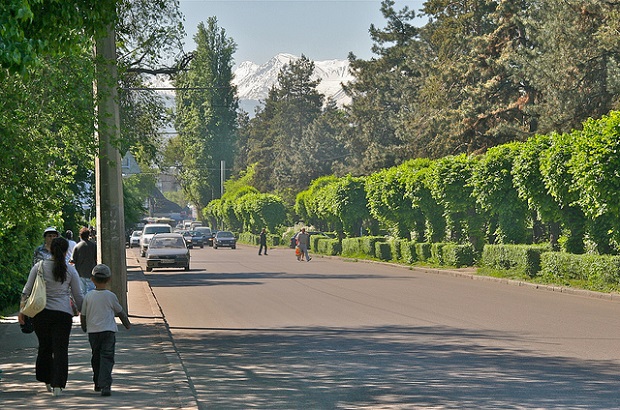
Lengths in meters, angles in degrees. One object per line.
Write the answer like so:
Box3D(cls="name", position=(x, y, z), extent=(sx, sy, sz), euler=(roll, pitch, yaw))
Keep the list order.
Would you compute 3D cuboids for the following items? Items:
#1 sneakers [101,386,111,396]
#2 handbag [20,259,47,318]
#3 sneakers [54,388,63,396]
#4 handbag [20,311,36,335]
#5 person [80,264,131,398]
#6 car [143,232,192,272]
Box3D(cls="sneakers", position=(-4.182, 3.755, 19.935), extent=(0.140, 0.156, 0.374), euler=(2, -10, -8))
Box3D(cls="handbag", position=(-5.693, 1.716, 20.082), extent=(0.570, 1.137, 0.259), euler=(-1, -3, 21))
Box3D(cls="sneakers", position=(-5.150, 3.782, 19.977), extent=(0.132, 0.161, 0.244), euler=(-2, 3, -29))
Box3D(cls="handbag", position=(-5.949, 2.483, 20.561), extent=(0.317, 0.488, 0.512), euler=(3, -10, -19))
Box3D(cls="person", position=(-4.285, 2.542, 20.151), extent=(0.910, 2.653, 0.460), euler=(1, -3, -11))
Box3D(cls="car", position=(-6.849, 2.229, 46.883), extent=(1.976, 1.764, 2.274), euler=(1, -4, -9))
